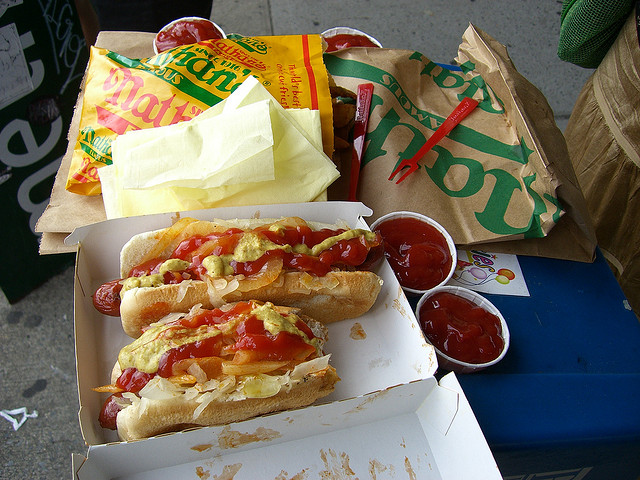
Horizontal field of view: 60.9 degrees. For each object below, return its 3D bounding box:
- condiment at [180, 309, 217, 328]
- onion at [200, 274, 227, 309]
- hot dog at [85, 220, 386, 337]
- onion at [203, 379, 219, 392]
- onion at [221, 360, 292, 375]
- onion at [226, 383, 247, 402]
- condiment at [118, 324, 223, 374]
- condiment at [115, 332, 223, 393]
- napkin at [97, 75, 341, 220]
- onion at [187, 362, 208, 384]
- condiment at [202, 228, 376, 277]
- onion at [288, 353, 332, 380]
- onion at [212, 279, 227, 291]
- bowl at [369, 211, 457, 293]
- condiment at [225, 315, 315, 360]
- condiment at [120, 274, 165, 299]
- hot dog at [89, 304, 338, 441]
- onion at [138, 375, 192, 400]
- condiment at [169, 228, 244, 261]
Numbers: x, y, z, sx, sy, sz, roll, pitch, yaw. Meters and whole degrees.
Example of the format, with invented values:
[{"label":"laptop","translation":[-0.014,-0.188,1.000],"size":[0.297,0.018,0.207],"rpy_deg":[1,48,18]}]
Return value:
[{"label":"condiment","translation":[-0.559,0.372,2.557],"size":[0.084,0.037,0.089],"rpy_deg":[-1,33,1]},{"label":"onion","translation":[-0.495,0.273,2.603],"size":[0.064,0.060,0.231],"rpy_deg":[-26,99,-15]},{"label":"hot dog","translation":[-0.376,0.214,2.888],"size":[1.411,0.537,0.655],"rpy_deg":[2,54,-8]},{"label":"onion","translation":[-0.484,0.655,2.449],"size":[0.042,0.012,0.043],"rpy_deg":[1,63,-5]},{"label":"onion","translation":[-0.291,0.582,2.521],"size":[0.306,0.099,0.082],"rpy_deg":[1,39,-5]},{"label":"onion","translation":[-0.366,0.693,2.461],"size":[0.078,0.023,0.081],"rpy_deg":[5,87,16]},{"label":"condiment","translation":[-0.687,0.511,2.509],"size":[0.376,0.132,0.226],"rpy_deg":[-22,29,-6]},{"label":"condiment","translation":[-0.683,0.594,2.470],"size":[0.394,0.121,0.213],"rpy_deg":[-28,40,-3]},{"label":"napkin","translation":[-0.530,-0.443,2.876],"size":[1.251,0.227,0.533],"rpy_deg":[-6,67,-5]},{"label":"onion","translation":[-0.544,0.598,2.450],"size":[0.098,0.025,0.063],"rpy_deg":[41,94,9]},{"label":"condiment","translation":[-0.180,0.063,2.684],"size":[0.524,0.139,0.122],"rpy_deg":[-6,50,-5]},{"label":"onion","translation":[-0.045,0.568,2.503],"size":[0.157,0.110,0.049],"rpy_deg":[-26,34,-21]},{"label":"onion","translation":[-0.469,0.214,2.588],"size":[0.064,0.015,0.048],"rpy_deg":[-2,67,-4]},{"label":"bowl","translation":[0.498,0.050,2.799],"size":[0.387,0.128,0.433],"rpy_deg":[-3,68,5]},{"label":"condiment","translation":[-0.231,0.465,2.498],"size":[0.246,0.204,0.081],"rpy_deg":[17,59,7]},{"label":"condiment","translation":[-0.843,0.206,2.596],"size":[0.153,0.061,0.119],"rpy_deg":[-24,38,1]},{"label":"hot dog","translation":[-0.482,0.575,2.578],"size":[1.109,0.300,0.546],"rpy_deg":[-9,67,-7]},{"label":"onion","translation":[-0.689,0.674,2.430],"size":[0.190,0.048,0.102],"rpy_deg":[15,67,4]},{"label":"condiment","translation":[-0.629,0.049,2.784],"size":[0.197,0.340,0.090],"rpy_deg":[-4,86,-34]}]
